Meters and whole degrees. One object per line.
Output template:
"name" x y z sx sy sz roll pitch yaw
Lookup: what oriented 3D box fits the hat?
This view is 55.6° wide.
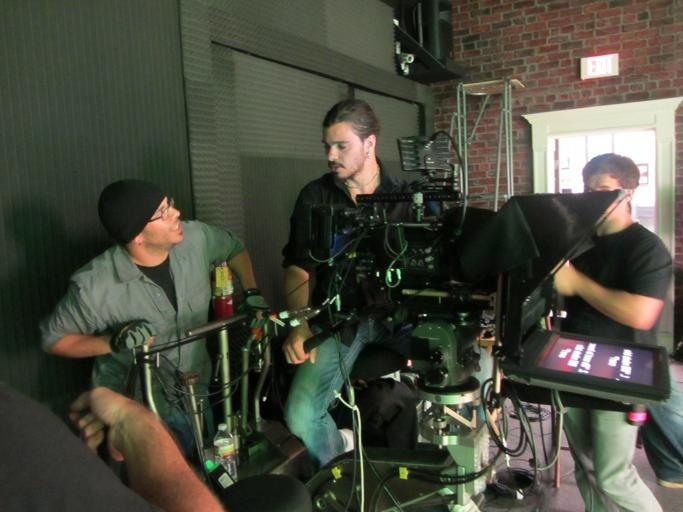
"hat" -1.041 -0.163 3.274 0.262 0.236 0.327 -46 -13 -24

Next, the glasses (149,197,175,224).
"glasses" -0.893 -0.212 3.195 0.105 0.032 0.104 -12 25 20

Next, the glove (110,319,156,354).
"glove" -0.912 0.352 2.816 0.143 0.072 0.178 -24 10 -6

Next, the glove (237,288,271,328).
"glove" -0.407 0.248 3.074 0.146 0.088 0.226 8 2 -29

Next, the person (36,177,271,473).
"person" -0.934 0.341 3.104 0.638 1.672 0.906 8 26 22

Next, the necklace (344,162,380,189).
"necklace" 0.137 -0.437 3.746 0.126 0.086 0.165 -11 -16 -23

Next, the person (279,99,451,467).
"person" 0.075 0.163 3.473 0.771 1.967 1.197 -1 9 -5
